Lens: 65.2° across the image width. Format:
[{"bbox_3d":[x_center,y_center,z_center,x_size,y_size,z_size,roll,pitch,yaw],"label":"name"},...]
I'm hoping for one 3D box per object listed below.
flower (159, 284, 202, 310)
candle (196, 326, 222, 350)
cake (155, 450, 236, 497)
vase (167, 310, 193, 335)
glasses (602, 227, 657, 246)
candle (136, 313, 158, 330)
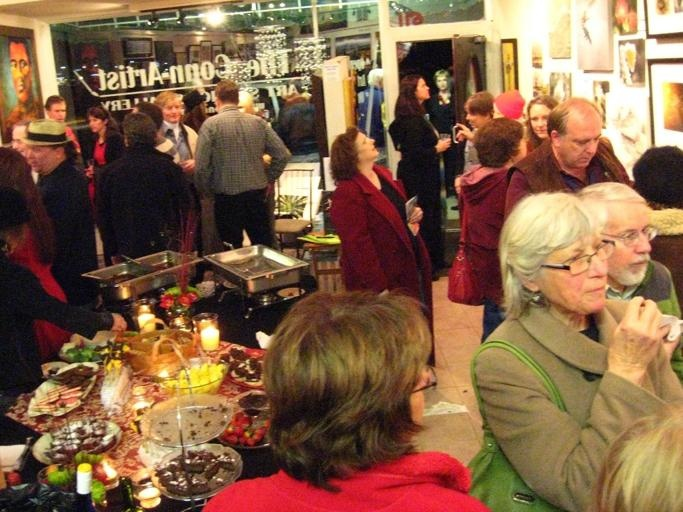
[{"bbox_3d":[-0.982,0.242,3.247,0.204,0.068,0.172,-6,6,-2],"label":"flower"},{"bbox_3d":[-0.712,0.444,2.949,0.136,0.112,0.135,5,12,24],"label":"candle"},{"bbox_3d":[-0.497,0.766,1.891,0.192,0.036,0.174,-6,14,-27],"label":"cake"},{"bbox_3d":[-0.909,0.379,3.039,0.159,0.120,0.139,0,-3,-5],"label":"vase"},{"bbox_3d":[1.121,-0.076,2.093,0.178,0.045,0.175,-6,1,-33],"label":"glasses"},{"bbox_3d":[-1.084,0.363,2.953,0.074,0.068,0.072,25,36,29],"label":"candle"}]
